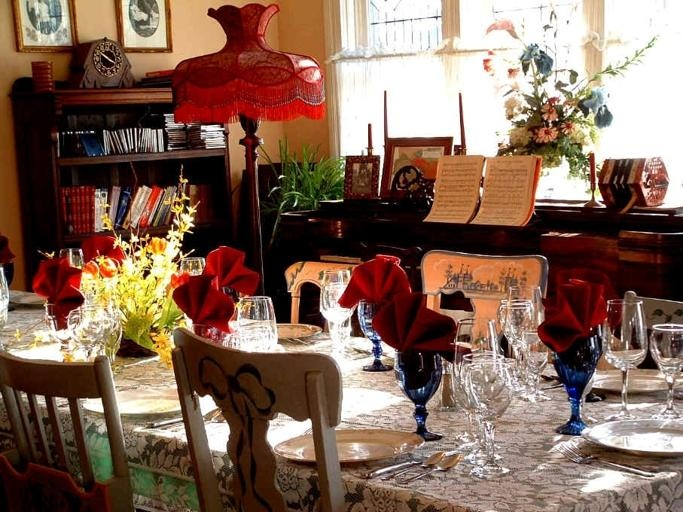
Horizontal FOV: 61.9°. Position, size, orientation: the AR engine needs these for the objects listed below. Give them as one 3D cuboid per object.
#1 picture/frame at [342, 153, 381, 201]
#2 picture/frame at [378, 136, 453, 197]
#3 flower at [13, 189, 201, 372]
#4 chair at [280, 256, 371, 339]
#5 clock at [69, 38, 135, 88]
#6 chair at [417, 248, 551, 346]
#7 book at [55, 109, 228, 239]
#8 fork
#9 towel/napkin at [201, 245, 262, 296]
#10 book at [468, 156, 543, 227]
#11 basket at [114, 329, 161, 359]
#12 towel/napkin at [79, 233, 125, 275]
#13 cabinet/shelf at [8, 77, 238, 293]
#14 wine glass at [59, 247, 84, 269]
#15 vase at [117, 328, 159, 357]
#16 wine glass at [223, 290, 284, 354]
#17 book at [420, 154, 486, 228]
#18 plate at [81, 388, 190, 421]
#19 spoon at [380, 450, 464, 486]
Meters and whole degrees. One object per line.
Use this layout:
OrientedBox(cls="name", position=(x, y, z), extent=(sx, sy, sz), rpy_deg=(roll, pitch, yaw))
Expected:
OrientedBox(cls="picture/frame", position=(0.139, -0.526, 3.855), extent=(0.348, 0.443, 0.033), rpy_deg=(5, 6, 32))
OrientedBox(cls="picture/frame", position=(0.482, -0.564, 3.620), extent=(0.364, 0.355, 0.028), rpy_deg=(6, 7, 33))
OrientedBox(cls="flower", position=(-0.806, 0.078, 2.170), extent=(0.696, 0.799, 0.608), rpy_deg=(0, 0, 35))
OrientedBox(cls="chair", position=(-0.138, 0.151, 2.818), extent=(0.370, 0.461, 0.377), rpy_deg=(3, 6, 37))
OrientedBox(cls="clock", position=(-1.825, -1.444, 4.280), extent=(0.258, 0.443, 0.480), rpy_deg=(-1, 1, 41))
OrientedBox(cls="chair", position=(0.558, 0.156, 2.250), extent=(0.336, 0.562, 0.352), rpy_deg=(1, 0, 34))
OrientedBox(cls="book", position=(-1.585, -0.648, 4.349), extent=(0.961, 1.007, 0.314), rpy_deg=(-6, 5, -41))
OrientedBox(cls="fork", position=(0.498, 0.370, 1.089), extent=(0.176, 0.030, 0.044), rpy_deg=(8, 4, 39))
OrientedBox(cls="towel/napkin", position=(-0.340, 0.039, 1.717), extent=(0.141, 0.165, 0.060), rpy_deg=(-3, 9, -3))
OrientedBox(cls="book", position=(0.970, -0.375, 3.357), extent=(0.424, 0.498, 0.382), rpy_deg=(4, 17, 40))
OrientedBox(cls="basket", position=(-0.701, 0.309, 1.924), extent=(0.075, 0.038, 0.106), rpy_deg=(16, -37, -31))
OrientedBox(cls="towel/napkin", position=(-0.827, -0.002, 1.992), extent=(0.121, 0.129, 0.029), rpy_deg=(27, 6, 11))
OrientedBox(cls="cabinet/shelf", position=(-1.508, -0.534, 3.677), extent=(0.473, 1.574, 1.467), rpy_deg=(2, 6, 45))
OrientedBox(cls="wine glass", position=(-0.996, 0.009, 2.099), extent=(0.072, 0.078, 0.074), rpy_deg=(-5, 9, -35))
OrientedBox(cls="vase", position=(-0.697, 0.294, 1.928), extent=(0.099, 0.043, 0.083), rpy_deg=(4, -10, 34))
OrientedBox(cls="wine glass", position=(-0.254, 0.180, 1.599), extent=(0.134, 0.159, 0.153), rpy_deg=(1, 2, 16))
OrientedBox(cls="book", position=(0.701, -0.419, 3.514), extent=(0.428, 0.520, 0.366), rpy_deg=(6, 16, 32))
OrientedBox(cls="plate", position=(-0.478, 0.348, 1.317), extent=(0.128, 0.018, 0.136), rpy_deg=(1, 4, 11))
OrientedBox(cls="spoon", position=(0.152, 0.385, 1.044), extent=(0.046, 0.034, 0.199), rpy_deg=(9, 1, 30))
